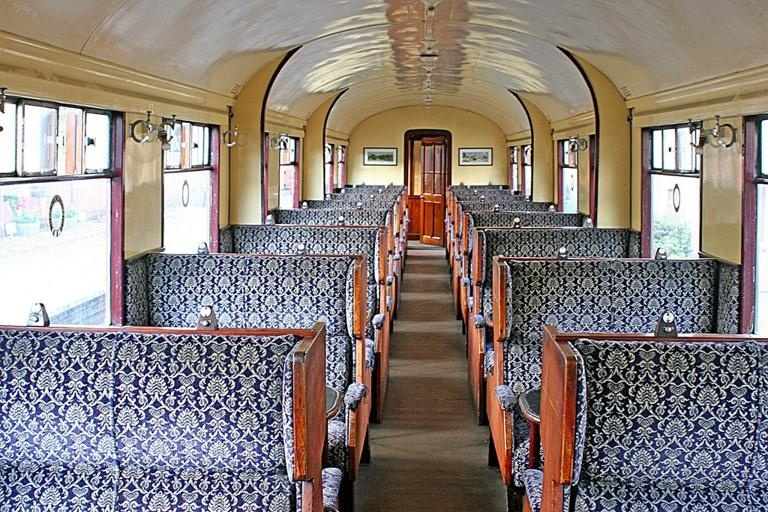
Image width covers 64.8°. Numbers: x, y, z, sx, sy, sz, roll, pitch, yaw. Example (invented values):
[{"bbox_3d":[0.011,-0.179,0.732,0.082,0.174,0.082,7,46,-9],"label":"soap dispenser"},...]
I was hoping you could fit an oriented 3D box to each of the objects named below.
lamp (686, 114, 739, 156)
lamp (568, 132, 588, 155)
[{"bbox_3d":[3.080,-1.156,5.745,0.305,0.341,0.858,2,11,13],"label":"lamp"},{"bbox_3d":[3.051,-1.757,9.497,0.284,0.166,0.403,2,15,18],"label":"lamp"}]
